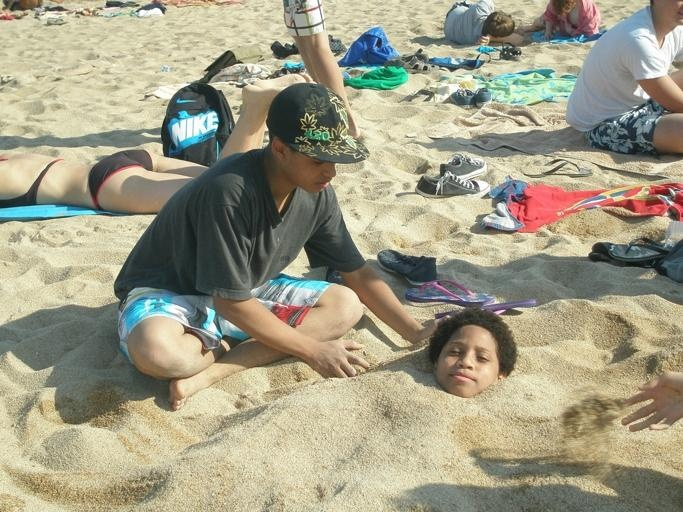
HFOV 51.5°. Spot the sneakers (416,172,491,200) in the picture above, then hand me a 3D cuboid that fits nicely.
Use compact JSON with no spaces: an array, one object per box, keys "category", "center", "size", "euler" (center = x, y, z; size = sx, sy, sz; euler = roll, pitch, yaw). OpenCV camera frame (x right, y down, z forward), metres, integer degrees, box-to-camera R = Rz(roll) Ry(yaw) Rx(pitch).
[{"category":"sneakers","center":[0.851,-0.562,5.607],"size":[0.682,0.167,0.194],"euler":[-3,25,-5]}]

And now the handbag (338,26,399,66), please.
[{"category":"handbag","center":[0.280,-2.637,9.131],"size":[0.847,0.326,0.573],"euler":[8,43,20]}]

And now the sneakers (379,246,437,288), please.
[{"category":"sneakers","center":[0.391,0.068,4.557],"size":[0.425,0.136,0.172],"euler":[21,32,38]}]

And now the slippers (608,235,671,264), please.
[{"category":"slippers","center":[1.883,-0.027,4.462],"size":[0.409,0.091,0.147],"euler":[0,42,6]}]

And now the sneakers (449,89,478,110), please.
[{"category":"sneakers","center":[1.323,-1.697,7.644],"size":[0.256,0.106,0.265],"euler":[2,20,5]}]

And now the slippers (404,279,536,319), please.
[{"category":"slippers","center":[0.690,0.249,4.247],"size":[0.963,0.121,0.239],"euler":[4,17,16]}]
